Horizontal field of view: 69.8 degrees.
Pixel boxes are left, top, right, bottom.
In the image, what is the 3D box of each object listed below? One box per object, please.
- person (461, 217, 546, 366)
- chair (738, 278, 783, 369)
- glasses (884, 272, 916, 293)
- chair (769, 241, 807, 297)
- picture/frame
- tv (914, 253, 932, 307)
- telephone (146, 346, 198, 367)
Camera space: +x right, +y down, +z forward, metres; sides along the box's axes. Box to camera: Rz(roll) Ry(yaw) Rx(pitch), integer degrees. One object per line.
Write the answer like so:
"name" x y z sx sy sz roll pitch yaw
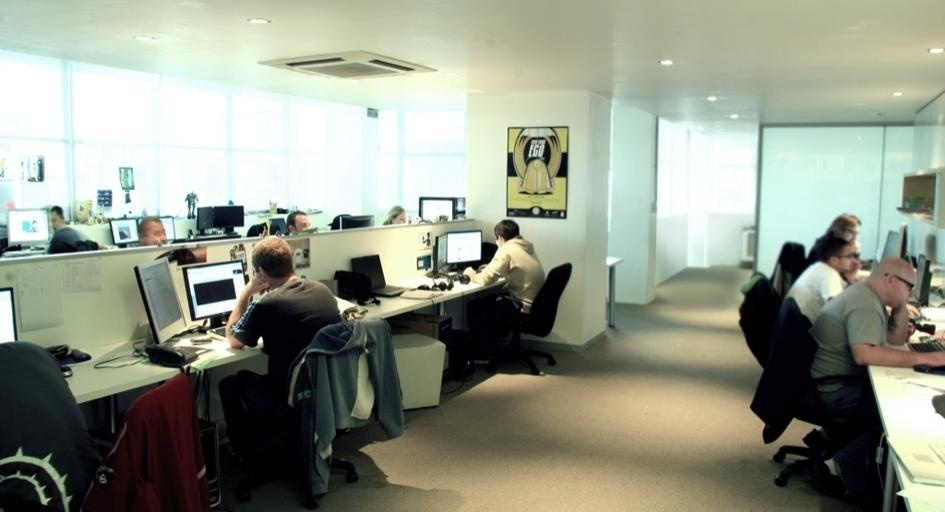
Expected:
"person" 0.422 0.463 8.795 1.308 1.727 0.890 1 -1 30
"chair" 2.867 0.631 6.861 0.318 0.754 0.626 4 2 5
"glasses" 3.859 0.239 6.067 0.182 0.165 0.052 20 -15 -21
"chair" 4.021 0.172 8.607 0.238 0.657 0.438 18 5 -36
"picture/frame" 0.867 -1.156 9.181 1.052 1.247 0.020 -5 10 -33
"tv" 4.962 0.290 7.461 0.205 0.552 0.610 1 6 27
"telephone" -2.659 0.878 5.955 0.280 0.098 0.272 0 7 -6
